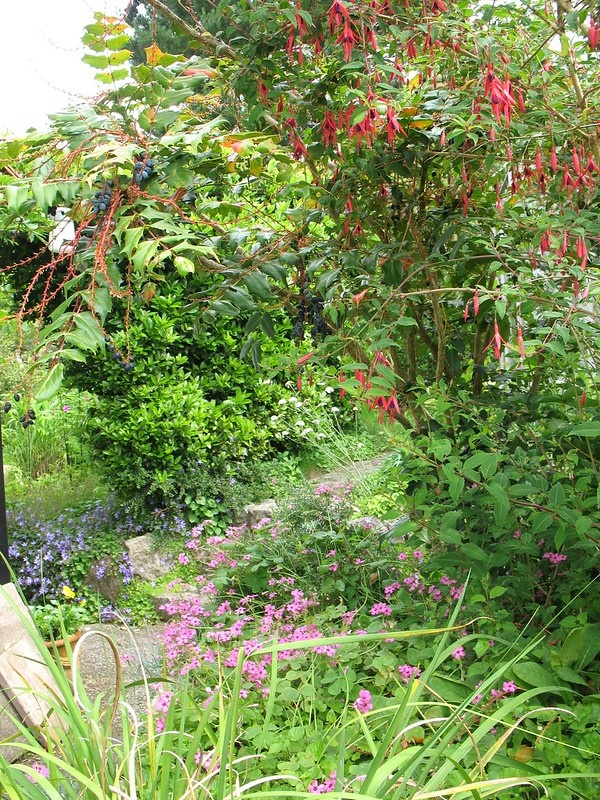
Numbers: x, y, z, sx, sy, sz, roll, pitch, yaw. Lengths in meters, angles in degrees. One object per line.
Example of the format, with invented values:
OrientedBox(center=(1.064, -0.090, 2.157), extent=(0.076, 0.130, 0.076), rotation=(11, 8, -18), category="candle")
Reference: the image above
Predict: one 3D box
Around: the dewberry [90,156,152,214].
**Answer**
OrientedBox(center=(-0.350, -0.432, 1.495), extent=(0.132, 0.108, 0.116), rotation=(4, 1, 5), category="dewberry")
